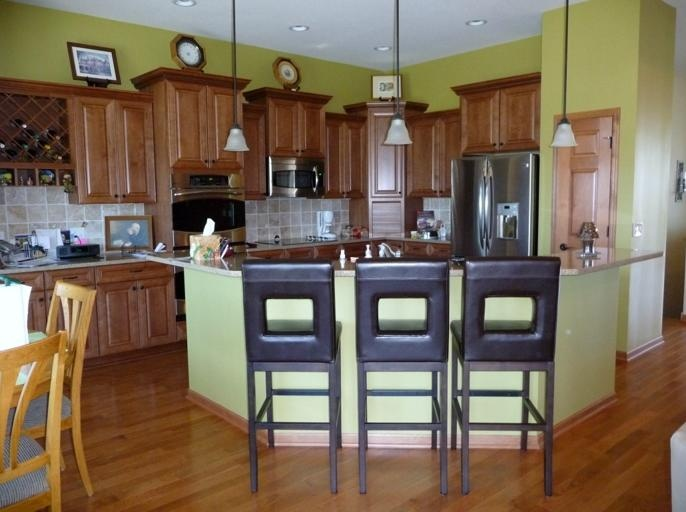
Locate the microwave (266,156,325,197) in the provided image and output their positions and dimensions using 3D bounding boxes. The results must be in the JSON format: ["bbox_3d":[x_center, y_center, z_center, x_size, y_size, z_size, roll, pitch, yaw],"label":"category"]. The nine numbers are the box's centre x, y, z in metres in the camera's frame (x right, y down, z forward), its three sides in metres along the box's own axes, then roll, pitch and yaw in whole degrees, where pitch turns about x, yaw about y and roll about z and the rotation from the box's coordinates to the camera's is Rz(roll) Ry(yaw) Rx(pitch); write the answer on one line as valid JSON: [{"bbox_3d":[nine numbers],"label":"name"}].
[{"bbox_3d":[-0.598,-0.889,6.616,0.693,0.441,0.453,-4,7,-41],"label":"microwave"}]

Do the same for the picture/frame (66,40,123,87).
[{"bbox_3d":[-2.436,-1.839,5.431,0.582,0.512,0.166,-7,6,-42],"label":"picture/frame"}]

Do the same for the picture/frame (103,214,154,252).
[{"bbox_3d":[-2.197,-0.222,5.689,0.373,0.318,0.039,-2,6,-19],"label":"picture/frame"}]

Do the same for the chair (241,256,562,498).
[{"bbox_3d":[0.405,0.769,3.547,1.379,1.181,0.537,1,9,4],"label":"chair"}]

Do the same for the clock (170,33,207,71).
[{"bbox_3d":[-1.542,-2.001,5.576,0.324,0.330,0.148,-6,14,-21],"label":"clock"}]

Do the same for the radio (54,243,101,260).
[{"bbox_3d":[-2.506,-0.032,5.313,0.374,0.145,0.172,-8,15,-28],"label":"radio"}]

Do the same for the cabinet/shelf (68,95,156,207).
[{"bbox_3d":[-2.262,-1.026,5.406,0.970,1.267,0.479,-6,9,-41],"label":"cabinet/shelf"}]

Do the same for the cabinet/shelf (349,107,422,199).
[{"bbox_3d":[0.527,-1.286,6.963,1.159,1.456,0.743,0,3,-2],"label":"cabinet/shelf"}]
